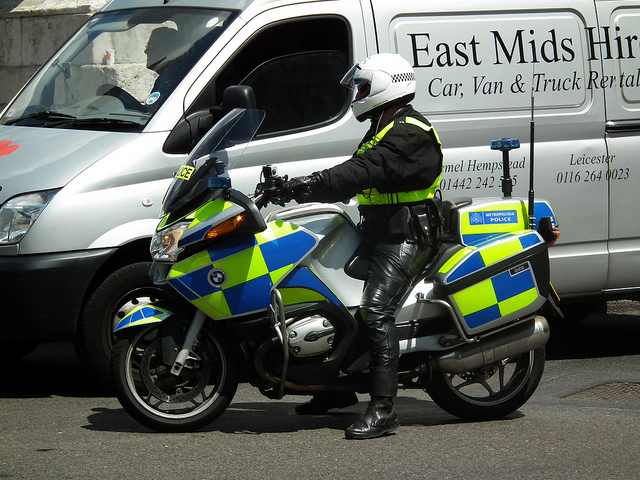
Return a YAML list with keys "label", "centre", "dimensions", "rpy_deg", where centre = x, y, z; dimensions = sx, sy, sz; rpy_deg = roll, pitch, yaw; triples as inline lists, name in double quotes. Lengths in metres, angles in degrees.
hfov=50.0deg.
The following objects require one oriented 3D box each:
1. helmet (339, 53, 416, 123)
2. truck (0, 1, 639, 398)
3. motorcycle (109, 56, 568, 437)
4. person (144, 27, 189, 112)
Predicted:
- label: "helmet"
  centre: [0.395, -1.017, 4.593]
  dimensions: [0.528, 0.401, 0.396]
  rpy_deg: [-4, 6, 3]
- label: "truck"
  centre: [0.359, -0.672, 6.711]
  dimensions: [5.745, 2.827, 2.837]
  rpy_deg: [0, -1, -10]
- label: "motorcycle"
  centre: [0.169, 0.246, 4.580]
  dimensions: [3.011, 1.851, 1.159]
  rpy_deg: [0, -4, -15]
- label: "person"
  centre: [-1.202, -1.316, 5.394]
  dimensions: [0.367, 0.537, 0.778]
  rpy_deg: [1, -5, -4]
